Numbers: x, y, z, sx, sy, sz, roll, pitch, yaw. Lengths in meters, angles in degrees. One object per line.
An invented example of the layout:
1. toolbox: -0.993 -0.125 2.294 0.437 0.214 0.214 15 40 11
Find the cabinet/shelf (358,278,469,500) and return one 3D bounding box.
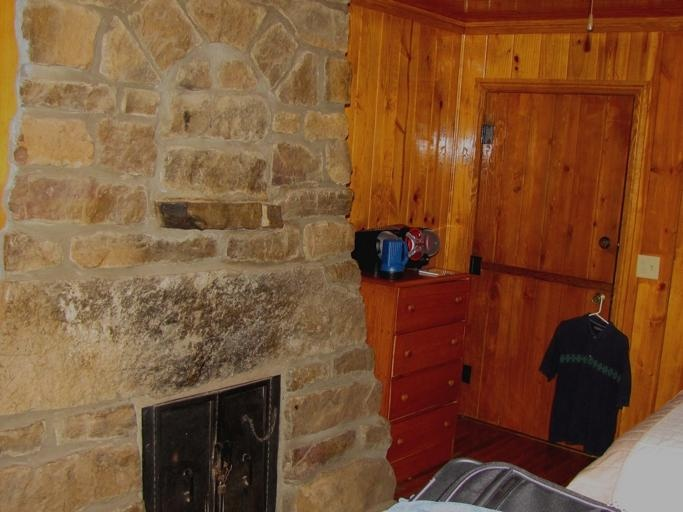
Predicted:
1. cabinet/shelf: 0.459 0.727 3.540 0.742 1.216 0.223 -3 6 -38

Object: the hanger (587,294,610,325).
1. hanger: 1.694 0.356 3.816 0.060 0.170 0.155 4 6 -30

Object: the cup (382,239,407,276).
1. cup: 0.313 0.007 3.394 0.168 0.204 0.110 0 5 -11
